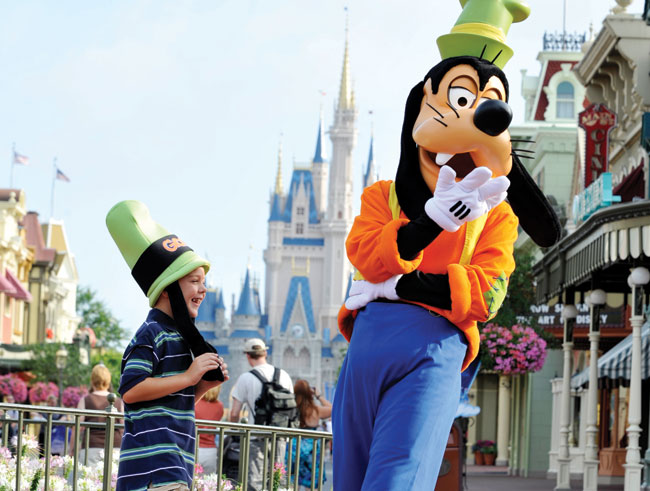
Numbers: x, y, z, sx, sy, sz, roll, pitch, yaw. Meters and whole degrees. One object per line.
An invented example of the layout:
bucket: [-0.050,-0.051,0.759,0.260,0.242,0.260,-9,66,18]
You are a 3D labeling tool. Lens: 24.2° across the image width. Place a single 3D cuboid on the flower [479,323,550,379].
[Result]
flower: [3.346,1.977,27.418,1.047,1.030,1.208,-1,9,0]
